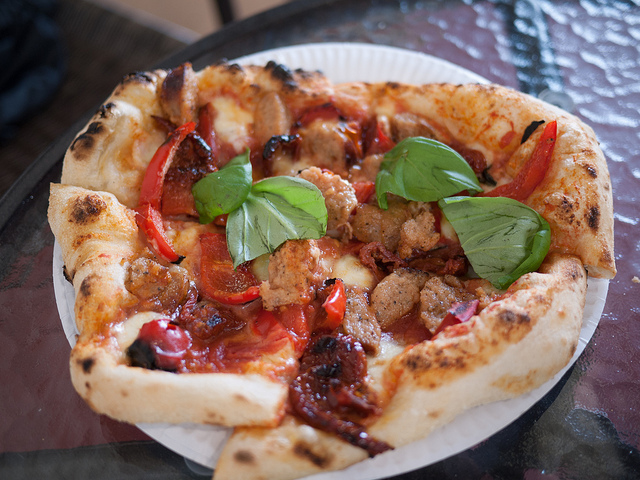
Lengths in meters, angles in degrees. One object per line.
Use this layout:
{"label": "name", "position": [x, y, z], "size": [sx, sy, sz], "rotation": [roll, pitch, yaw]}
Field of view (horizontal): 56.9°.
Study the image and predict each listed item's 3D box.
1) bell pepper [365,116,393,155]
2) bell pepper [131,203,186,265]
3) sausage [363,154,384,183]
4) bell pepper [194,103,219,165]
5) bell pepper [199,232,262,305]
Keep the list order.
{"label": "bell pepper", "position": [0.430, -0.742, 4.328], "size": [0.236, 0.071, 0.247], "rotation": [-37, 63, 33]}
{"label": "bell pepper", "position": [-1.108, -0.048, 4.050], "size": [0.107, 0.260, 0.471], "rotation": [-34, 75, 24]}
{"label": "sausage", "position": [0.400, -0.520, 4.359], "size": [0.179, 0.060, 0.192], "rotation": [2, 84, 38]}
{"label": "bell pepper", "position": [-0.813, -0.756, 4.393], "size": [0.164, 0.127, 0.456], "rotation": [20, 122, 31]}
{"label": "bell pepper", "position": [-0.609, 0.180, 3.982], "size": [0.394, 0.241, 0.541], "rotation": [-8, 82, 1]}
